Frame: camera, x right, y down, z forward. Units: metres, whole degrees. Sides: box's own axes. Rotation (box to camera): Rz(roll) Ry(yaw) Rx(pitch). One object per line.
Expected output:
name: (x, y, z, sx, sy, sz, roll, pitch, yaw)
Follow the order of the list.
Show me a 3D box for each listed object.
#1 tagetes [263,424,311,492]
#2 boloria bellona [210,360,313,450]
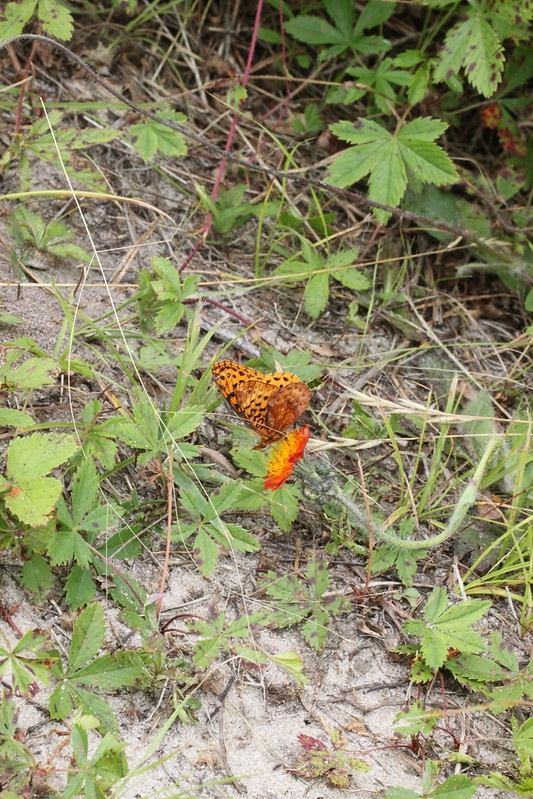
tagetes: (0.031, 0.158, 1.847, 0.080, 0.154, 0.146, 36, 27, -6)
boloria bellona: (-0.024, 0.020, 1.971, 0.136, 0.224, 0.176, -44, 67, 9)
